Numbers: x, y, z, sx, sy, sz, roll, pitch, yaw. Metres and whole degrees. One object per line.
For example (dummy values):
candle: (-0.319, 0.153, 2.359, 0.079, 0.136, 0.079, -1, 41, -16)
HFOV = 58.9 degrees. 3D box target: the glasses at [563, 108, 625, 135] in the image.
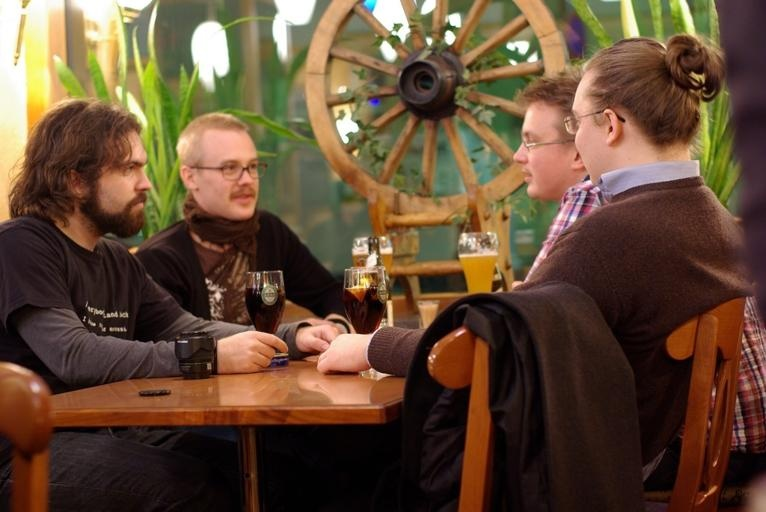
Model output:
glasses: (0.487, -0.330, 1.620, 0.094, 0.028, 0.073, -20, 1, 16)

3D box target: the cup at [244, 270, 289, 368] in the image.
cup: (-0.307, 0.117, 1.761, 0.094, 0.167, 0.168, -1, -3, -11)

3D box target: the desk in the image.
desk: (-0.329, 0.402, 1.445, 0.747, 0.272, 0.405, -2, -4, 0)

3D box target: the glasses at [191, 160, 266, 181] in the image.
glasses: (-0.548, -0.318, 2.508, 0.140, 0.038, 0.138, -3, -1, 37)

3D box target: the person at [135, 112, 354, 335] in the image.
person: (-0.653, -0.065, 2.597, 0.779, 0.701, 0.851, 0, 7, 26)

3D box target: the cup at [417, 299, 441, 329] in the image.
cup: (0.140, 0.182, 2.106, 0.077, 0.113, 0.076, -1, -2, 0)

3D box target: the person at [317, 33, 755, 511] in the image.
person: (0.310, -0.050, 1.915, 1.147, 1.133, 0.662, -1, -8, 21)
